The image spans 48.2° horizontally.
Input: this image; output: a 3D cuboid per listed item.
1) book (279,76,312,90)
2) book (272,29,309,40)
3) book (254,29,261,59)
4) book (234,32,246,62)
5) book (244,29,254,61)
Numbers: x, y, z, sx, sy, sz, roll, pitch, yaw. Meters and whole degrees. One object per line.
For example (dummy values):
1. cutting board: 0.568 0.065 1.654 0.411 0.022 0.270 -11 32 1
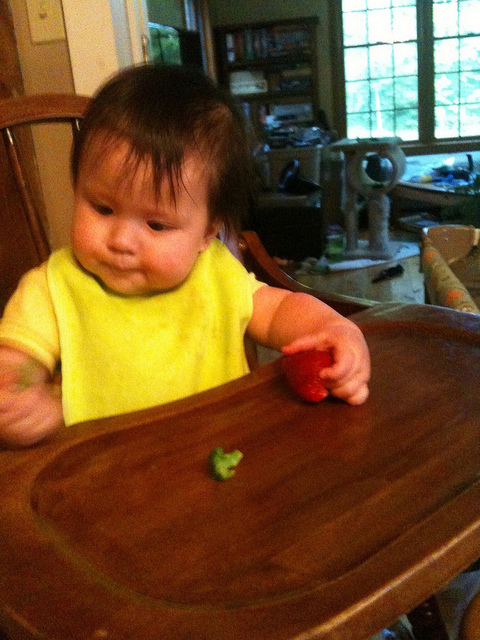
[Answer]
1. book: 0.616 -2.575 5.813 0.231 0.060 0.222 -1 36 6
2. book: 0.558 -3.109 5.816 0.383 0.077 0.063 -2 22 7
3. book: 0.192 -2.968 5.752 0.074 0.298 0.168 -4 22 4
4. book: 0.002 -2.949 5.772 0.112 0.293 0.173 -4 22 3
5. book: 0.105 -2.961 5.757 0.101 0.314 0.178 -4 22 5
